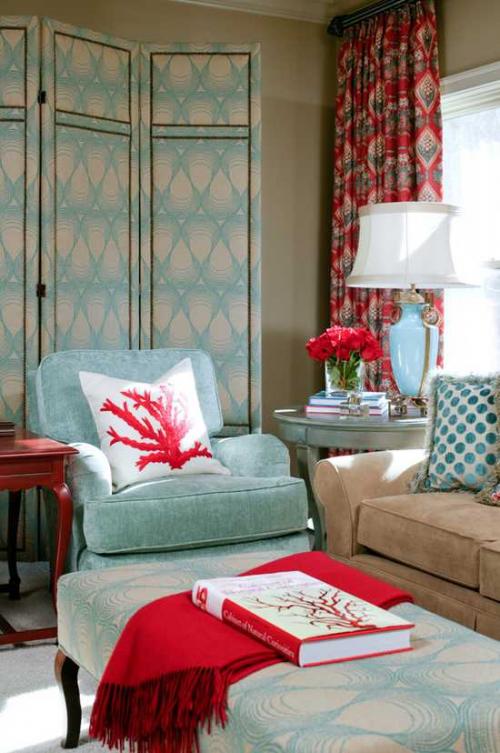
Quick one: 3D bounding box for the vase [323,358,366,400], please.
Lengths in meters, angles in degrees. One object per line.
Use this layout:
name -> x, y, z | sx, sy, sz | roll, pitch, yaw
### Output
vase -> 0.406, 0.011, 2.731 | 0.156, 0.169, 0.153 | 0, -1, 3

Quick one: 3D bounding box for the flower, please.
flower -> 0.384, -0.078, 2.626 | 0.279, 0.260, 0.277 | -1, 0, 0

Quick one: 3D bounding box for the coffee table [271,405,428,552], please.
coffee table -> 0.373, 0.415, 2.678 | 0.581, 0.567, 0.565 | 0, 1, -4

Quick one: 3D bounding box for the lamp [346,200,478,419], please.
lamp -> 0.711, -0.311, 3.075 | 0.770, 1.177, 0.774 | 0, 3, 13

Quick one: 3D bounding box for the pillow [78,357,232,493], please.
pillow -> -0.352, 0.178, 2.347 | 0.471, 0.407, 0.275 | -8, 18, -33
